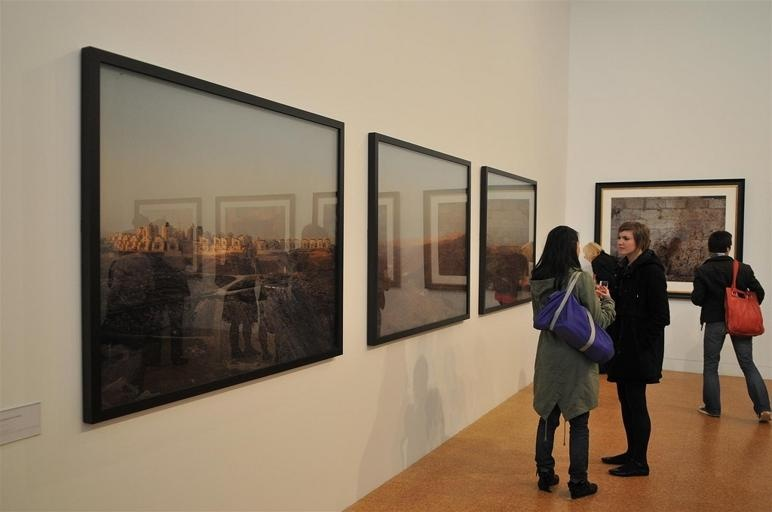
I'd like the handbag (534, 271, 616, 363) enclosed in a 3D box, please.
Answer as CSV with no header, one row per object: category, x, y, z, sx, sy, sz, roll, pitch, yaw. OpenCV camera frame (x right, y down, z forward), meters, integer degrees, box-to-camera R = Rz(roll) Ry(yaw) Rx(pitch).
handbag,1.469,0.415,4.373,0.663,0.680,0.275,33,-38,-28

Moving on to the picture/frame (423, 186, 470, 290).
picture/frame,0.537,-0.185,5.090,0.071,1.114,0.981,0,1,30

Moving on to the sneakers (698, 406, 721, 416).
sneakers,3.521,1.683,6.039,0.070,0.078,0.193,-3,6,-25

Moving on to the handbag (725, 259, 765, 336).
handbag,3.830,0.476,5.953,0.351,0.816,0.248,3,6,26

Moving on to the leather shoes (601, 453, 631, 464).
leather shoes,2.013,1.786,4.899,0.248,0.103,0.085,2,-3,15
